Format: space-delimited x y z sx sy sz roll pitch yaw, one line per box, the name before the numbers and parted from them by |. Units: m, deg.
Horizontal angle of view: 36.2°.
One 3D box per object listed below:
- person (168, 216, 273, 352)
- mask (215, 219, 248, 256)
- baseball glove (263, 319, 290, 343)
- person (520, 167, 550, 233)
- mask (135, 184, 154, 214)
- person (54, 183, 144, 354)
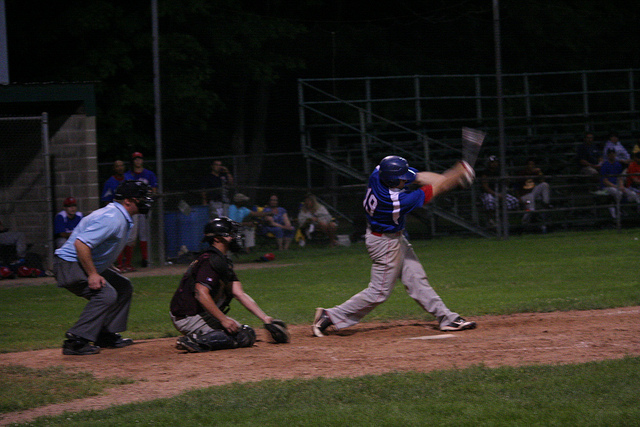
person | -1.908 1.258 17.367 1.579 2.348 0.522 -2 -2 -4
mask | -1.633 0.385 17.415 0.517 0.555 0.230 -2 -2 -6
baseball glove | -0.780 2.074 17.519 0.221 0.404 0.319 -4 -2 37
person | 5.678 -0.360 25.895 0.775 1.703 0.711 -3 -2 9
mask | -3.204 -0.272 17.668 0.304 0.510 0.318 -2 -2 -6
person | -3.932 0.959 17.494 1.545 3.007 0.566 -2 -2 -9
